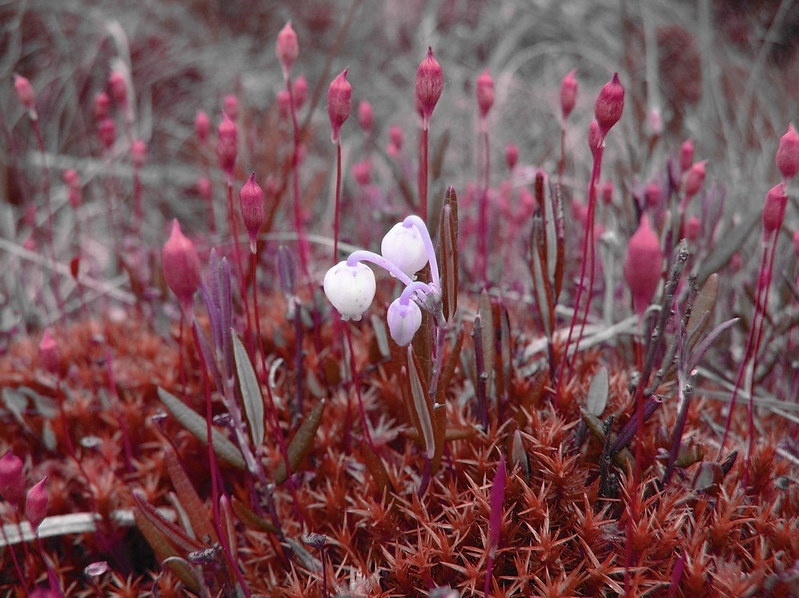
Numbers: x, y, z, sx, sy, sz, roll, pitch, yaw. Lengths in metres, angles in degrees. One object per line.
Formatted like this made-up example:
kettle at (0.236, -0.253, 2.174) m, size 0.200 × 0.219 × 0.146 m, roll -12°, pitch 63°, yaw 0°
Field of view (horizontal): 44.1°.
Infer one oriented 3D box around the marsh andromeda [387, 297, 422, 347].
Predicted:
marsh andromeda at (0.006, 0.050, 2.256) m, size 0.079 × 0.152 × 0.086 m, roll -1°, pitch 3°, yaw -4°

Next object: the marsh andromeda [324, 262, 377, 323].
marsh andromeda at (-0.107, -0.009, 2.322) m, size 0.105 × 0.164 × 0.114 m, roll -3°, pitch -1°, yaw 24°

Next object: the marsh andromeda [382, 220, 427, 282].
marsh andromeda at (0.013, -0.102, 2.321) m, size 0.093 × 0.137 × 0.108 m, roll -3°, pitch -19°, yaw -29°
